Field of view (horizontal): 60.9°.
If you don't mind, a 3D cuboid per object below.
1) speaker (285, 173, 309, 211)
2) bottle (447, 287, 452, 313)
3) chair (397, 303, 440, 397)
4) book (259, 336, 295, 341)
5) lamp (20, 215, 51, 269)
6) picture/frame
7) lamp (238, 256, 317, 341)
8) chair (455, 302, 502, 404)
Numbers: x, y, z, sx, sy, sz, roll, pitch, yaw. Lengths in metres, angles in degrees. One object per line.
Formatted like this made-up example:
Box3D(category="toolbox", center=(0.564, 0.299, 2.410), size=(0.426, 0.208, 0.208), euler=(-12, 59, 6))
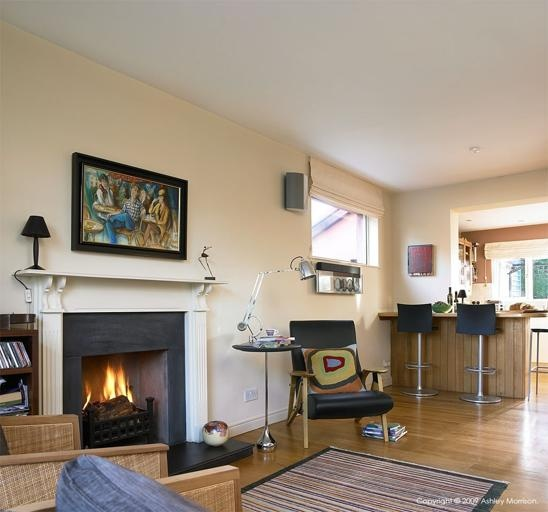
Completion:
Box3D(category="speaker", center=(0.223, -0.646, 4.667), size=(0.208, 0.368, 0.383), euler=(-1, -4, 20))
Box3D(category="bottle", center=(2.324, 0.560, 6.101), size=(0.068, 0.325, 0.266), euler=(-2, -5, 21))
Box3D(category="chair", center=(1.795, 1.144, 5.814), size=(0.451, 1.089, 0.718), euler=(-1, -5, 15))
Box3D(category="book", center=(0.025, 0.681, 3.816), size=(0.284, 0.043, 0.068), euler=(3, -6, -27))
Box3D(category="lamp", center=(-1.373, -0.080, 2.685), size=(0.154, 0.331, 0.226), euler=(3, -6, -26))
Box3D(category="picture/frame", center=(-1.020, -0.341, 3.202), size=(0.036, 0.570, 0.820), euler=(-3, -6, 38))
Box3D(category="lamp", center=(0.001, 0.349, 4.280), size=(0.638, 0.804, 1.118), euler=(0, -5, -1))
Box3D(category="chair", center=(2.370, 1.096, 5.379), size=(0.448, 1.084, 0.664), euler=(-2, -5, 22))
